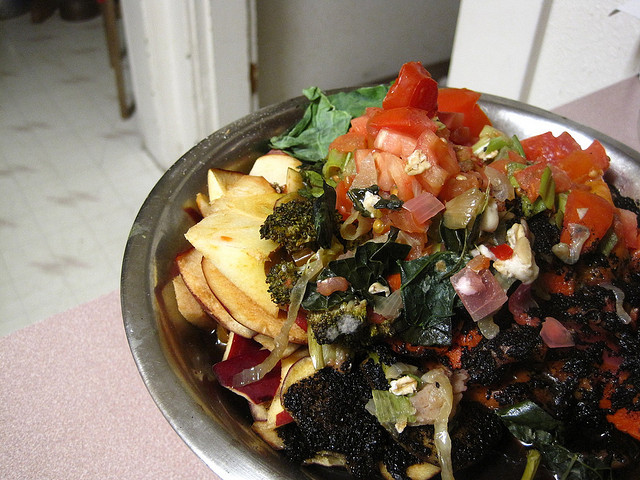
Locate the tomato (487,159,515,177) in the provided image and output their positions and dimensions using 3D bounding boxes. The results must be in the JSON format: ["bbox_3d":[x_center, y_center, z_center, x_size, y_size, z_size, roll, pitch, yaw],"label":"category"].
[{"bbox_3d":[0.547,-0.221,1.824,0.074,0.022,0.057,-22,36,-12],"label":"tomato"}]

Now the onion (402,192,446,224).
[{"bbox_3d":[0.278,-0.089,1.636,0.097,0.045,0.072,-29,56,-27],"label":"onion"}]

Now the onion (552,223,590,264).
[{"bbox_3d":[0.700,0.011,1.685,0.080,0.032,0.119,28,91,23],"label":"onion"}]

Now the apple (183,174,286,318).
[{"bbox_3d":[-0.202,0.042,1.744,0.348,0.114,0.330,39,56,1],"label":"apple"}]

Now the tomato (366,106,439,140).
[{"bbox_3d":[0.228,-0.315,1.739,0.117,0.056,0.142,-4,8,-39],"label":"tomato"}]

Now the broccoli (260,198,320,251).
[{"bbox_3d":[-0.075,-0.044,1.683,0.145,0.054,0.145,-7,48,0],"label":"broccoli"}]

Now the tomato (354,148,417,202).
[{"bbox_3d":[0.199,-0.182,1.687,0.078,0.071,0.171,-30,57,-27],"label":"tomato"}]

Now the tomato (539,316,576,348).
[{"bbox_3d":[0.633,0.251,1.630,0.087,0.028,0.062,44,76,-1],"label":"tomato"}]

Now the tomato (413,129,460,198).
[{"bbox_3d":[0.315,-0.211,1.662,0.048,0.158,0.155,-19,58,1],"label":"tomato"}]

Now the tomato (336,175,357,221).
[{"bbox_3d":[0.064,-0.117,1.714,0.075,0.094,0.106,-6,32,3],"label":"tomato"}]

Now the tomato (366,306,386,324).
[{"bbox_3d":[0.143,0.205,1.608,0.057,0.025,0.031,29,52,20],"label":"tomato"}]

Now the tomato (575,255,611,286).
[{"bbox_3d":[0.766,0.096,1.711,0.092,0.025,0.087,1,70,4],"label":"tomato"}]

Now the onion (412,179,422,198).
[{"bbox_3d":[0.265,-0.141,1.660,0.028,0.013,0.044,9,89,-6],"label":"onion"}]

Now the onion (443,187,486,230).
[{"bbox_3d":[0.384,-0.084,1.647,0.084,0.075,0.091,16,49,10],"label":"onion"}]

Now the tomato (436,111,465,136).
[{"bbox_3d":[0.405,-0.362,1.921,0.077,0.035,0.082,20,48,-11],"label":"tomato"}]

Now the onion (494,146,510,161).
[{"bbox_3d":[0.569,-0.266,1.880,0.040,0.016,0.047,5,58,37],"label":"onion"}]

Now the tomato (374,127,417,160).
[{"bbox_3d":[0.232,-0.280,1.707,0.083,0.169,0.044,13,78,9],"label":"tomato"}]

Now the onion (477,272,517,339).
[{"bbox_3d":[0.488,0.185,1.660,0.073,0.024,0.207,19,91,43],"label":"onion"}]

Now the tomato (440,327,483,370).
[{"bbox_3d":[0.380,0.296,1.635,0.071,0.024,0.118,36,88,26],"label":"tomato"}]

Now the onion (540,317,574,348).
[{"bbox_3d":[0.634,0.260,1.632,0.093,0.047,0.062,31,53,21],"label":"onion"}]

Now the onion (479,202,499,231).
[{"bbox_3d":[0.461,-0.057,1.650,0.052,0.039,0.069,16,60,18],"label":"onion"}]

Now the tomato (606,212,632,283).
[{"bbox_3d":[0.868,0.031,1.756,0.041,0.174,0.135,3,7,28],"label":"tomato"}]

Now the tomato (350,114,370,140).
[{"bbox_3d":[0.123,-0.351,1.851,0.074,0.024,0.074,-9,66,31],"label":"tomato"}]

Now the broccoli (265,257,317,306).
[{"bbox_3d":[-0.094,0.110,1.671,0.132,0.106,0.075,-32,51,-20],"label":"broccoli"}]

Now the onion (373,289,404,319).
[{"bbox_3d":[0.181,0.176,1.628,0.083,0.065,0.026,-37,70,-21],"label":"onion"}]

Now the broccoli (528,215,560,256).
[{"bbox_3d":[0.631,-0.013,1.706,0.095,0.025,0.095,31,61,-11],"label":"broccoli"}]

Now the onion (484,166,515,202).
[{"bbox_3d":[0.507,-0.151,1.720,0.076,0.025,0.121,-21,66,-24],"label":"onion"}]

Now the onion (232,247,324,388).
[{"bbox_3d":[-0.108,0.208,1.645,0.052,0.058,0.386,10,78,48],"label":"onion"}]

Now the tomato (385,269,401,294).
[{"bbox_3d":[0.198,0.114,1.646,0.045,0.030,0.053,11,73,-6],"label":"tomato"}]
